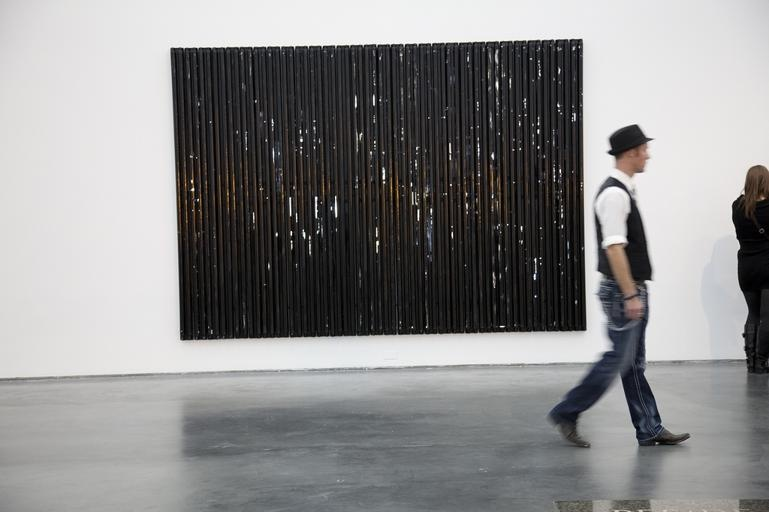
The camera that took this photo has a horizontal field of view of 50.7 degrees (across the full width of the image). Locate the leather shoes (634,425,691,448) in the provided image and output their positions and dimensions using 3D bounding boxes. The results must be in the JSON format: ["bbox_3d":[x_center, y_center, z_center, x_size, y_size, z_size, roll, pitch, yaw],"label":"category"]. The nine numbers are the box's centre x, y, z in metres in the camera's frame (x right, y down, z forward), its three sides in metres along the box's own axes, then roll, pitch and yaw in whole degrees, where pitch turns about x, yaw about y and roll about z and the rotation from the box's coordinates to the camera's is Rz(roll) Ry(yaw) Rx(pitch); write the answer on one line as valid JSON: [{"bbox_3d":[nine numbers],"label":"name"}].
[{"bbox_3d":[2.104,1.351,6.083,0.410,0.191,0.147,-10,-4,2],"label":"leather shoes"}]

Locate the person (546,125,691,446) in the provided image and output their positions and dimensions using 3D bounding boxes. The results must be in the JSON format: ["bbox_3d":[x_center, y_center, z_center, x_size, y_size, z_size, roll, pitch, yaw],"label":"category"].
[{"bbox_3d":[1.731,0.392,5.971,0.904,2.047,0.335,-3,7,10],"label":"person"}]
